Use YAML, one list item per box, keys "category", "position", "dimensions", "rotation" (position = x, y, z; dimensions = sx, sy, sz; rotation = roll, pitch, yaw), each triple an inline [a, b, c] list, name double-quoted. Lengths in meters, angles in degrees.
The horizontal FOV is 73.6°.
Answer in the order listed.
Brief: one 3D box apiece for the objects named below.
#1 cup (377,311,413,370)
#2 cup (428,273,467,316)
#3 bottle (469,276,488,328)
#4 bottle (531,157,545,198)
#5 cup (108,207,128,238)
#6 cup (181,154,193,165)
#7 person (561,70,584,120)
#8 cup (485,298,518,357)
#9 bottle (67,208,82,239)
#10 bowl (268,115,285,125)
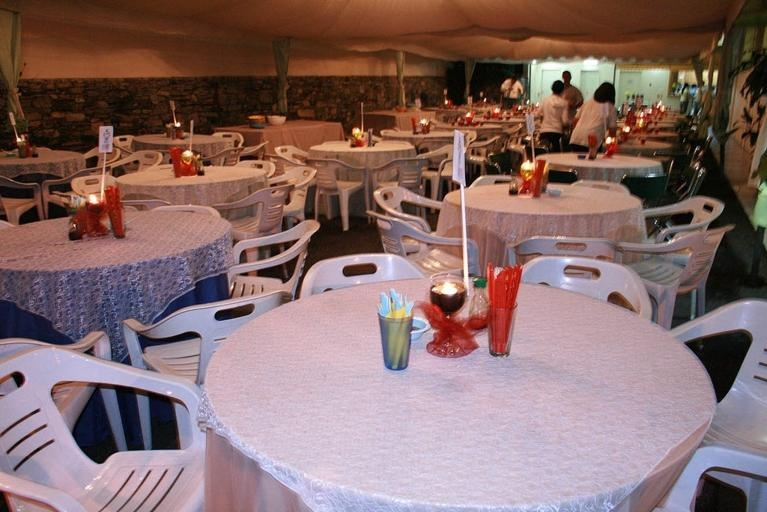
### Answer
- category: "cup"
  position: [0.040, 0.278, 1.686]
  dimensions: [0.120, 0.171, 0.117]
  rotation: [1, 2, 0]
- category: "cup"
  position: [0.218, 0.120, 1.780]
  dimensions: [0.124, 0.206, 0.134]
  rotation: [-2, 21, 1]
- category: "bottle"
  position: [0.331, 0.159, 1.796]
  dimensions: [0.059, 0.192, 0.183]
  rotation: [1, 18, 9]
- category: "bottle"
  position: [1.136, -0.588, 3.799]
  dimensions: [0.097, 0.264, 0.348]
  rotation: [3, 18, 16]
- category: "cup"
  position: [-1.488, -0.192, 2.886]
  dimensions: [0.077, 0.171, 0.125]
  rotation: [-10, 19, -24]
- category: "cup"
  position: [-1.755, -0.868, 4.618]
  dimensions: [0.077, 0.101, 0.099]
  rotation: [6, 12, -5]
- category: "person"
  position: [3.621, -3.075, 10.012]
  dimensions: [0.392, 1.215, 0.565]
  rotation: [1, 56, 28]
- category: "cup"
  position: [0.391, 0.246, 1.715]
  dimensions: [0.087, 0.179, 0.061]
  rotation: [2, 18, 11]
- category: "bottle"
  position: [-1.671, -0.169, 2.807]
  dimensions: [0.072, 0.168, 0.038]
  rotation: [-12, 20, -29]
- category: "bowl"
  position: [-1.999, -2.542, 9.604]
  dimensions: [0.290, 0.148, 0.296]
  rotation: [0, 13, 0]
